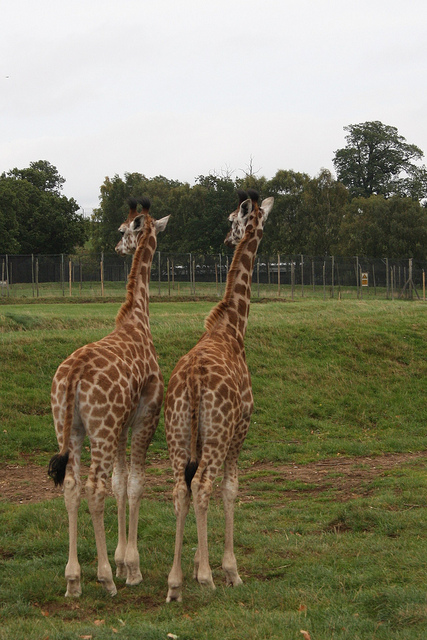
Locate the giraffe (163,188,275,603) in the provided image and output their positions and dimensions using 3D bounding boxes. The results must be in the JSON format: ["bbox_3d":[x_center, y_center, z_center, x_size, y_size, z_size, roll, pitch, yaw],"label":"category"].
[{"bbox_3d":[-0.017,0.550,8.713,0.771,2.995,1.647,0,0,2],"label":"giraffe"}]

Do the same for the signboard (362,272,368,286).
[{"bbox_3d":[6.197,-1.646,39.122,0.150,0.488,0.585,0,0,27],"label":"signboard"}]

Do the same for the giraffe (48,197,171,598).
[{"bbox_3d":[-0.878,0.554,8.921,0.817,2.750,2.095,0,0,16],"label":"giraffe"}]
